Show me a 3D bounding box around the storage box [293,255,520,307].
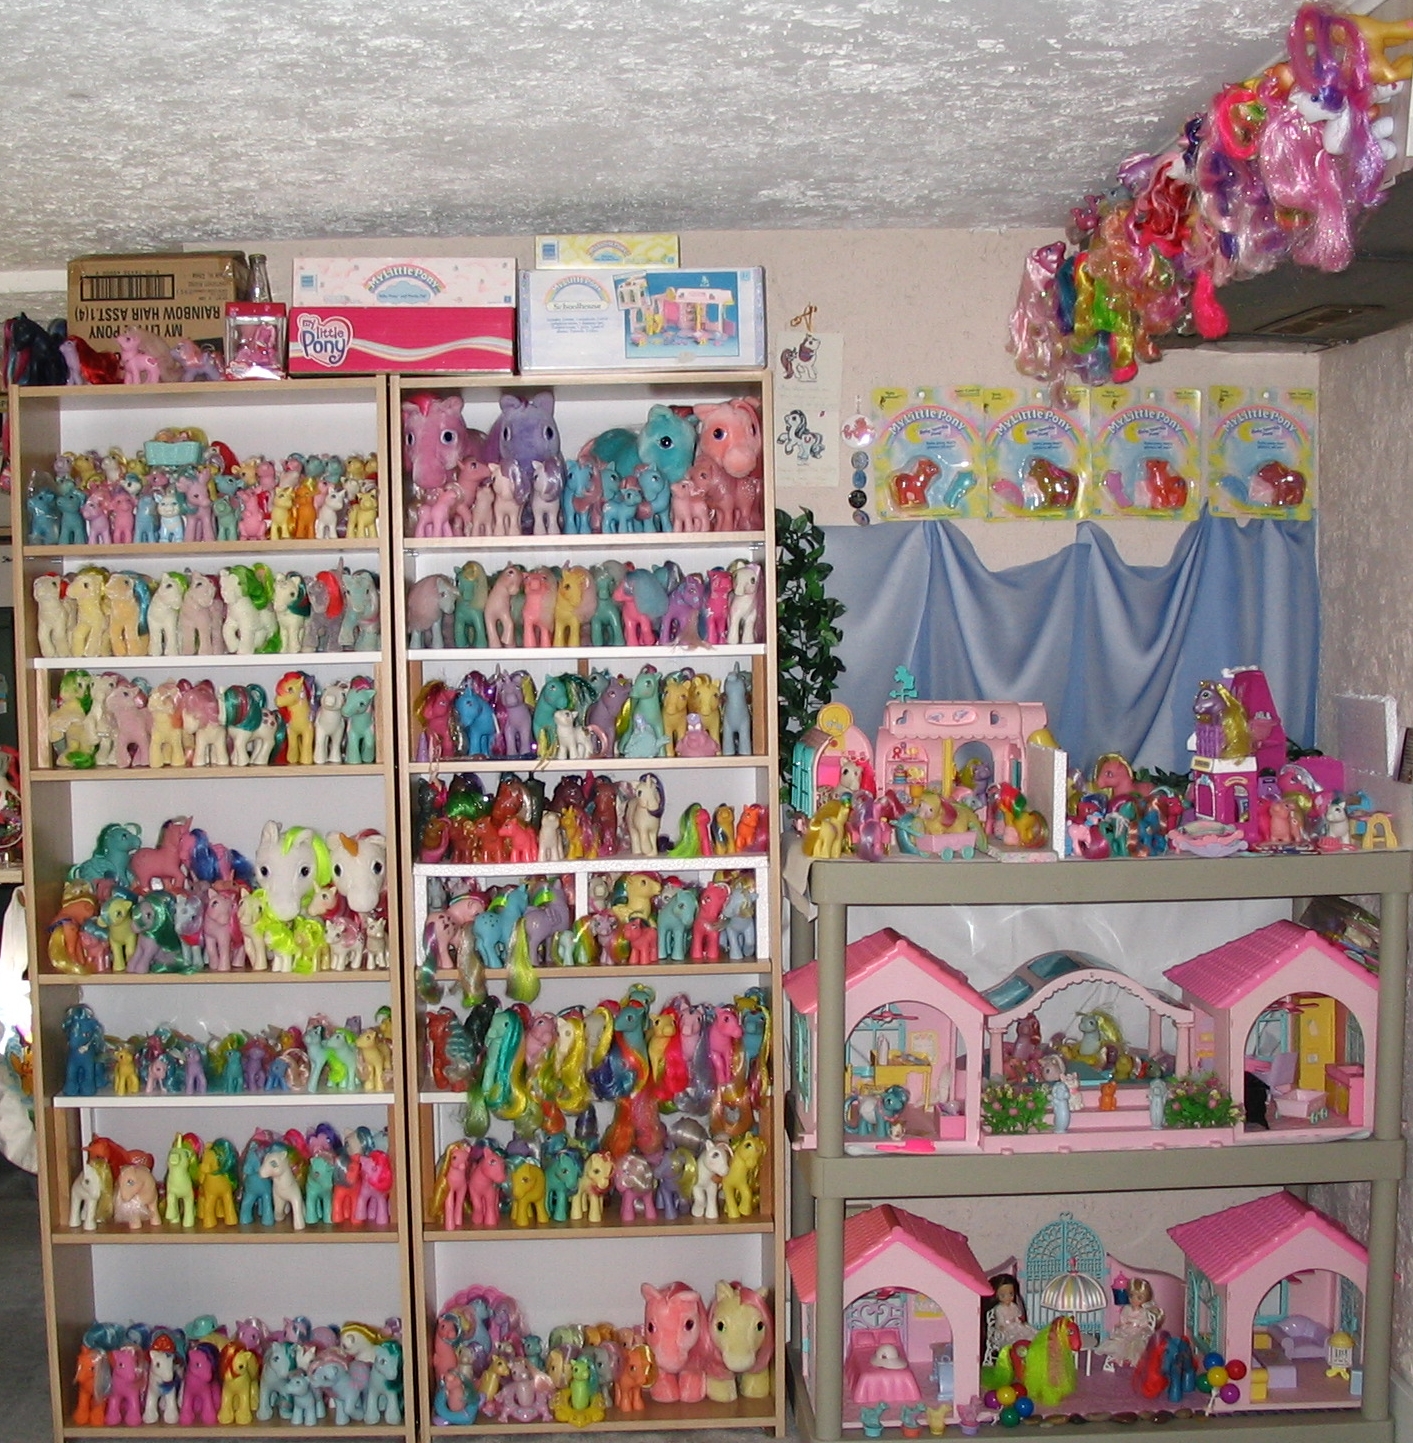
[{"bbox_3d":[-0.697,-1.020,4.583,0.521,0.120,0.063,-1,-3,-4],"label":"storage box"}]

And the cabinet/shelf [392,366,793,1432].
[{"bbox_3d":[-0.269,0.433,4.799,0.910,2.501,0.622,-1,-3,3],"label":"cabinet/shelf"}]
